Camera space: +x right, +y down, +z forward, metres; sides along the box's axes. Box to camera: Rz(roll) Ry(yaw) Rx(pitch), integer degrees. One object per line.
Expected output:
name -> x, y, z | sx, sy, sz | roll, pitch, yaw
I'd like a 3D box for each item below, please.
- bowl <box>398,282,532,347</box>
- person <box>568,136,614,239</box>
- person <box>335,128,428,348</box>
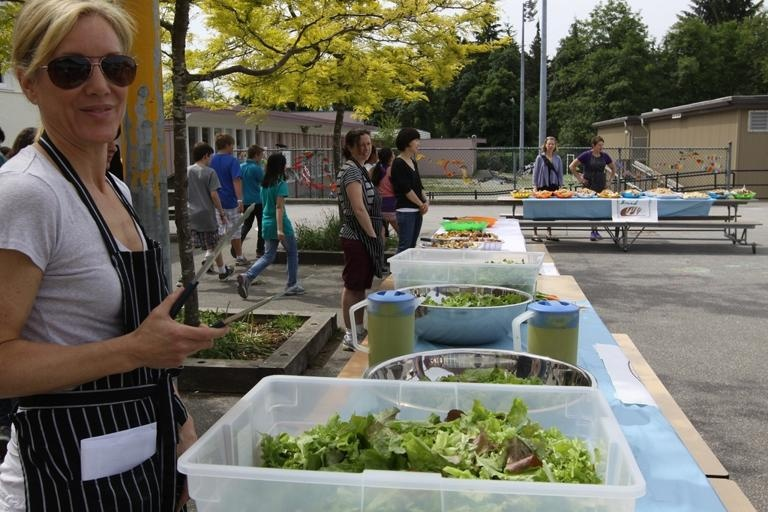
bowl -> 0.441, 0.293, 3.489 | 0.717, 0.290, 0.300 | 0, -3, -11
person -> 4.467, -1.405, 13.906 | 0.817, 2.278, 1.058 | 0, 1, 5
person -> -0.142, -0.260, 6.334 | 0.757, 1.689, 0.584 | 0, 2, 9
